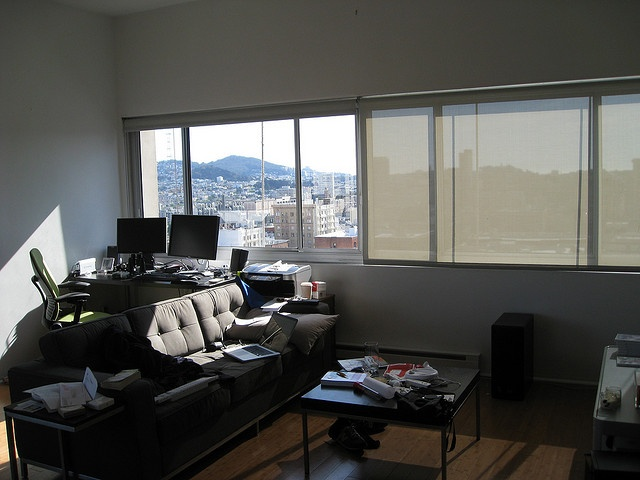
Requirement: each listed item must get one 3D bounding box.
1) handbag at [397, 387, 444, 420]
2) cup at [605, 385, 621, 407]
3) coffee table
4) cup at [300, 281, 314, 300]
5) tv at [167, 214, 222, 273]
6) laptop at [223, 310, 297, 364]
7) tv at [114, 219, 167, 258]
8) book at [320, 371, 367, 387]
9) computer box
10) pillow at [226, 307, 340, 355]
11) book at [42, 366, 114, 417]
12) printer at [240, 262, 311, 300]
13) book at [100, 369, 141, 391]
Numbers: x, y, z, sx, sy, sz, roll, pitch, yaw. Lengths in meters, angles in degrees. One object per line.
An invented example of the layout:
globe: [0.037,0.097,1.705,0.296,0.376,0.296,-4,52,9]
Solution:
handbag: [0.638,1.017,2.960,0.195,0.069,0.145,3,7,37]
cup: [1.720,0.912,2.772,0.075,0.084,0.119,0,2,21]
coffee table: [0.615,1.063,3.411,0.800,0.488,0.938,0,1,23]
cup: [-0.139,0.526,4.978,0.143,0.155,0.143,0,-1,0]
tv: [-1.435,0.036,5.463,0.626,0.642,0.209,4,-9,26]
laptop: [-0.485,0.794,4.045,0.407,0.250,0.403,3,0,-34]
tv: [-2.155,-0.036,5.708,0.476,0.343,0.051,0,-2,15]
book: [0.174,0.995,3.411,0.160,0.045,0.166,1,3,10]
computer box: [1.815,1.071,4.455,0.337,0.701,0.508,3,8,28]
pillow: [-0.188,0.799,4.312,0.545,0.162,0.555,3,8,39]
book: [-1.479,0.915,2.842,0.250,0.106,0.283,12,8,-24]
printer: [-0.440,0.329,5.094,0.525,0.365,0.395,1,2,21]
book: [-1.234,0.845,2.968,0.141,0.043,0.143,0,5,29]
